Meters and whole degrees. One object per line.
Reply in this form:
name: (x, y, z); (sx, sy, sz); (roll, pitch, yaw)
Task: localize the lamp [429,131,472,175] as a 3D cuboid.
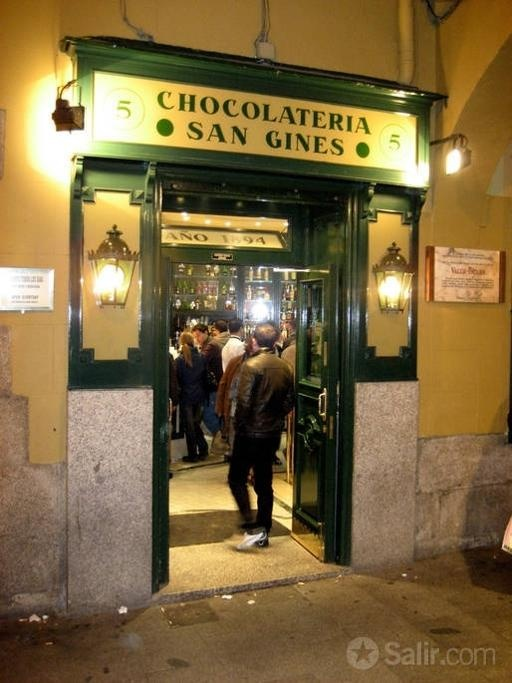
lamp: (1.557, -1.480, 4.950); (0.380, 0.383, 0.243); (-3, 1, -33)

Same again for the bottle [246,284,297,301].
bottle: (0.268, -0.872, 11.120); (0.834, 0.330, 0.205); (2, 2, -2)

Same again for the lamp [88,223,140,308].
lamp: (-0.892, -0.480, 3.968); (0.272, 0.513, 0.156); (1, 2, -14)

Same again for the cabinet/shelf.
cabinet/shelf: (-0.344, -0.602, 9.732); (1.335, 1.299, 0.443); (1, -3, -4)

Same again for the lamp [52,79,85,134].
lamp: (-1.173, -1.407, 3.783); (0.192, 0.209, 0.190); (-3, 2, -33)

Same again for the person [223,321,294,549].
person: (0.060, 0.771, 5.190); (0.542, 1.784, 0.386); (1, 2, -18)

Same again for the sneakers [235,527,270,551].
sneakers: (-0.022, 1.615, 5.086); (0.324, 0.142, 0.115); (7, -13, -42)

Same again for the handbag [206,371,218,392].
handbag: (-0.572, 0.529, 8.086); (0.142, 0.276, 0.189); (-18, -23, 34)

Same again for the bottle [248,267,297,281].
bottle: (0.294, -1.163, 11.004); (0.842, 0.243, 0.351); (3, 3, 26)

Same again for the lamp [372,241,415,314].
lamp: (1.094, -0.490, 4.772); (0.401, 0.548, 0.203); (0, 2, -36)
